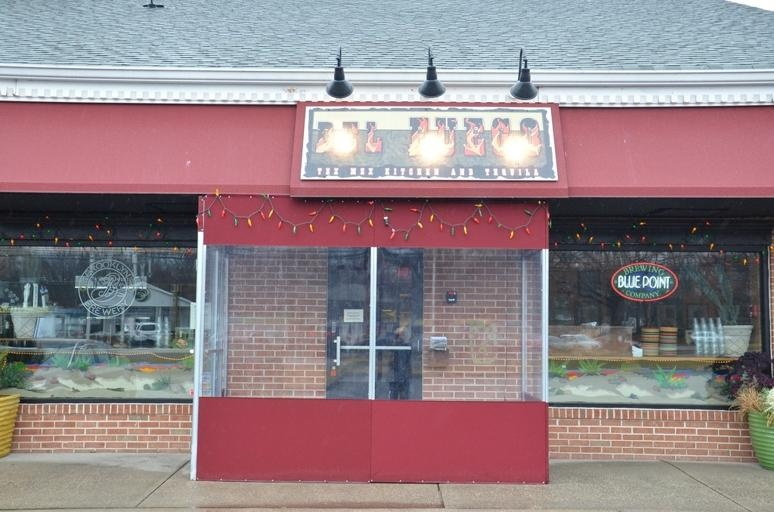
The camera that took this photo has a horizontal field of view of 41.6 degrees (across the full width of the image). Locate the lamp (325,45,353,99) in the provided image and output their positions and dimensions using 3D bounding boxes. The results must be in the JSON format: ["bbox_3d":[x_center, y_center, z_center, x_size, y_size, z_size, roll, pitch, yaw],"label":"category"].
[{"bbox_3d":[-0.767,-2.990,16.295,0.420,0.893,0.641,0,-5,-2],"label":"lamp"}]

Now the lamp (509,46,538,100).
[{"bbox_3d":[2.195,-2.946,16.468,0.432,0.919,1.237,-1,-5,8],"label":"lamp"}]
